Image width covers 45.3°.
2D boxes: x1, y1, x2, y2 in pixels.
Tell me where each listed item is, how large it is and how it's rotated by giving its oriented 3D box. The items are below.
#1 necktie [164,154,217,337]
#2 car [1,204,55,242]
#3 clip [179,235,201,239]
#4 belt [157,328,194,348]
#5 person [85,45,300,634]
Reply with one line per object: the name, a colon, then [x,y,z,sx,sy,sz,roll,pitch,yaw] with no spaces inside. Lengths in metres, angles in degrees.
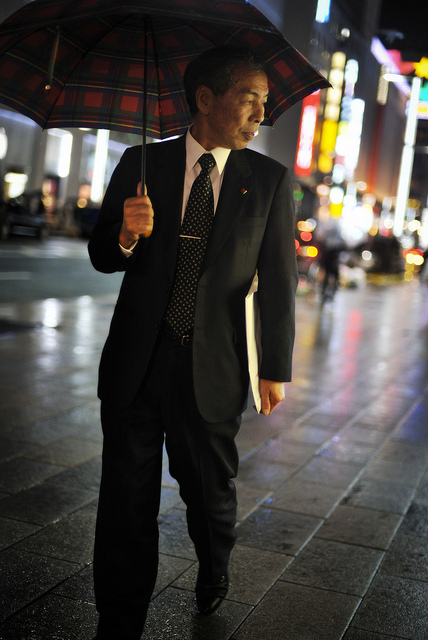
necktie: [-0.065,-0.213,1.422,0.106,0.508,0.057,5,0,-2]
car: [-8.485,-4.170,22.558,0.876,1.707,2.812,5,0,24]
clip: [-0.066,-0.229,1.413,0.057,0.007,0.006,6,-1,0]
belt: [-0.101,0.050,1.401,0.067,0.017,0.060,14,-3,-17]
person: [-0.075,0.102,1.511,0.593,1.680,0.338,5,0,-34]
